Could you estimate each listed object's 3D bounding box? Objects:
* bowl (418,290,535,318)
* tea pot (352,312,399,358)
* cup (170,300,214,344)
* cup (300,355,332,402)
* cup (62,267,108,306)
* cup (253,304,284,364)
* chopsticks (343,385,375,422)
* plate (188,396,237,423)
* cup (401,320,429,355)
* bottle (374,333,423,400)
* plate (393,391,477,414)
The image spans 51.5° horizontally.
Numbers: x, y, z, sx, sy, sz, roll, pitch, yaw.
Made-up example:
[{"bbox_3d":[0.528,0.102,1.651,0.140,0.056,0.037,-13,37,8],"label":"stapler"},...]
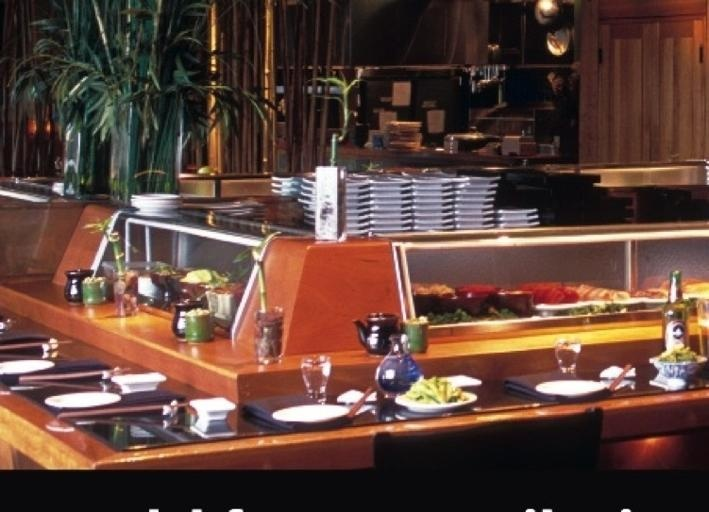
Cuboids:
[{"bbox_3d":[0.426,0.169,2.683,0.243,0.063,0.177,-3,4,-22],"label":"bowl"},{"bbox_3d":[0.072,0.254,2.426,0.149,0.105,0.107,-1,2,-18],"label":"tea pot"},{"bbox_3d":[-0.564,0.231,2.645,0.167,0.110,0.103,1,-3,-40],"label":"cup"},{"bbox_3d":[-0.113,0.364,2.202,0.112,0.172,0.118,-1,-1,0],"label":"cup"},{"bbox_3d":[-1.182,0.132,3.299,0.195,0.133,0.126,1,-3,-2],"label":"cup"},{"bbox_3d":[-0.270,0.259,2.344,0.136,0.228,0.136,0,-3,0],"label":"cup"},{"bbox_3d":[0.019,0.420,2.157,0.027,0.027,0.256,-4,19,18],"label":"chopsticks"},{"bbox_3d":[-0.413,0.439,2.154,0.138,0.051,0.207,-3,13,-12],"label":"plate"},{"bbox_3d":[0.213,0.270,2.491,0.095,0.108,0.099,-2,-1,0],"label":"cup"},{"bbox_3d":[0.131,0.332,2.263,0.174,0.228,0.172,-1,-2,0],"label":"bottle"},{"bbox_3d":[0.248,0.433,2.148,0.247,0.039,0.109,-2,13,-8],"label":"plate"}]
